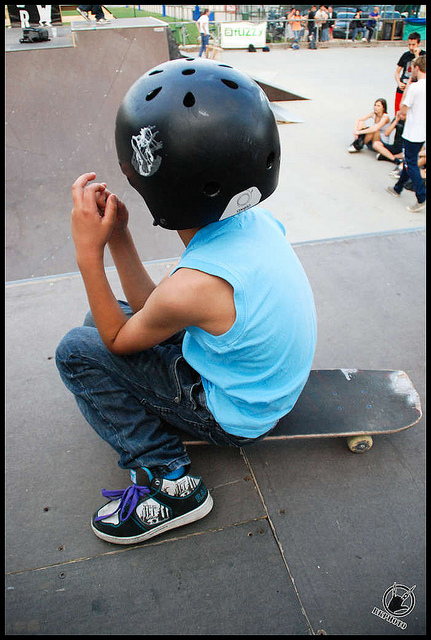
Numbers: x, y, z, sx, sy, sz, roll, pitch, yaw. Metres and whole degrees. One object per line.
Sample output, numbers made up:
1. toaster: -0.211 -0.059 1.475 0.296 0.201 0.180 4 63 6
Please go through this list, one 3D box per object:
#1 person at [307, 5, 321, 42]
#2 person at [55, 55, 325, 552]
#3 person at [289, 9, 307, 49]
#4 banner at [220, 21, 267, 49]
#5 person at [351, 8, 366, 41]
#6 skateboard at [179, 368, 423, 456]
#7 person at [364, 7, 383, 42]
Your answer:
1. person: 2.891 -8.753 15.919 0.375 0.955 0.709 0 23 7
2. person: -0.107 0.017 1.667 0.819 1.507 0.417 1 24 9
3. person: 2.439 -8.647 15.956 0.514 1.114 1.009 1 23 9
4. banner: 0.788 -8.092 15.252 1.254 0.679 0.995 -2 23 1
5. person: 4.322 -8.919 16.205 0.426 0.871 1.461 3 23 13
6. skateboard: 0.483 0.409 2.181 1.236 0.171 0.355 -2 38 -3
7. person: 4.687 -8.824 16.029 0.448 0.981 1.389 4 24 15
